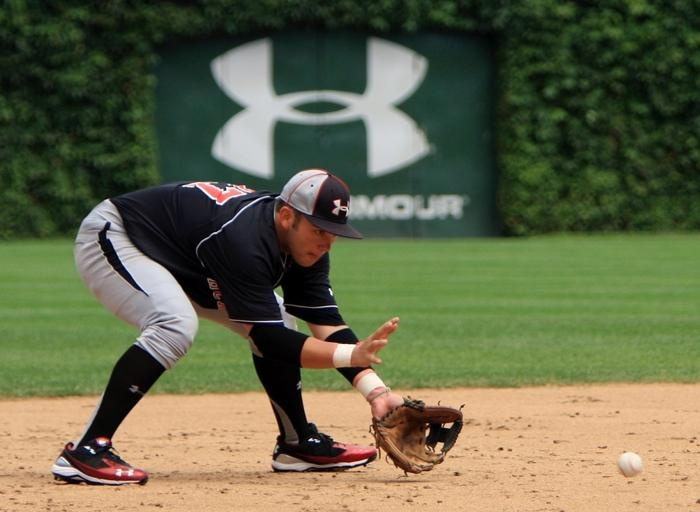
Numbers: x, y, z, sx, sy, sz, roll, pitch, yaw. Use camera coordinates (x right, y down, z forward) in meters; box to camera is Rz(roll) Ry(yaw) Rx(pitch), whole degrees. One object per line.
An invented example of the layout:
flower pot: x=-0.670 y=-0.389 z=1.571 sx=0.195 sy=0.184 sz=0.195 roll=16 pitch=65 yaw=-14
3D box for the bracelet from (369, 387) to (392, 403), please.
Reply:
bracelet: x=0.358 y=1.958 z=20.454 sx=0.275 sy=0.115 sz=0.205 roll=-30 pitch=-7 yaw=27

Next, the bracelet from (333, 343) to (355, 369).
bracelet: x=-0.135 y=1.388 z=20.200 sx=0.315 sy=0.296 sz=0.266 roll=3 pitch=-4 yaw=5
